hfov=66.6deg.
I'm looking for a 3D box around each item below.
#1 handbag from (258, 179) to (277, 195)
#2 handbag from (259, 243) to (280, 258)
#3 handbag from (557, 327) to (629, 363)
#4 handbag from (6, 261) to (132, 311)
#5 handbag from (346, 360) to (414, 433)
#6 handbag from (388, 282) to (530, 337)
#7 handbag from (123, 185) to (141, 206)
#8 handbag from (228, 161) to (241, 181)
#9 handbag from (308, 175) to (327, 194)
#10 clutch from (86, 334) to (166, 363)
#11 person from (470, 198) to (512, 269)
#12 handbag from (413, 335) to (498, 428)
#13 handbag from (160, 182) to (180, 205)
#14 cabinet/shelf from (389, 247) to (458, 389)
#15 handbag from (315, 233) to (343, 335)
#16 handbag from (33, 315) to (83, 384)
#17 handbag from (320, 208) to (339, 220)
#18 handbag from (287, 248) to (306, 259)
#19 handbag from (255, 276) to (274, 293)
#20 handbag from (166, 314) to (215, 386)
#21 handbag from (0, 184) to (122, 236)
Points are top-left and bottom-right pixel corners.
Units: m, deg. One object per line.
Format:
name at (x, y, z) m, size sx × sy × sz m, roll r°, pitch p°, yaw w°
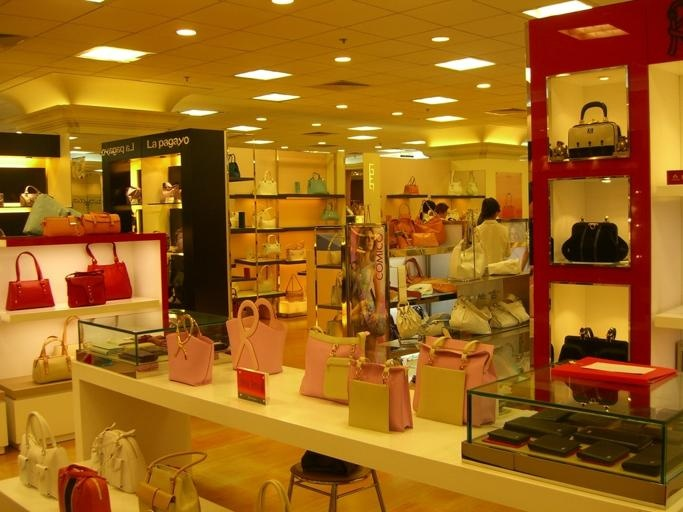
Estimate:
handbag at (-1.510, -1.373, 10.354) m, size 0.345 × 0.309 × 0.126 m, roll -3°, pitch 16°, yaw -17°
handbag at (-1.445, -0.105, 10.306) m, size 0.408 × 0.296 × 0.437 m, roll -4°, pitch 4°, yaw -9°
handbag at (1.757, 0.609, 3.604) m, size 0.330 × 0.302 × 0.169 m, roll 3°, pitch 9°, yaw 35°
handbag at (-2.562, 0.296, 4.987) m, size 0.282 × 0.381 × 1.085 m, roll 1°, pitch 5°, yaw 42°
handbag at (0.146, 0.576, 2.108) m, size 0.275 × 0.250 × 0.152 m, roll 3°, pitch 10°, yaw 30°
handbag at (1.341, 0.539, 5.605) m, size 0.636 × 0.260 × 1.224 m, roll -1°, pitch 0°, yaw 44°
handbag at (-3.293, -0.975, 8.317) m, size 0.320 × 0.339 × 0.348 m, roll 2°, pitch -5°, yaw -27°
handbag at (-1.832, -1.447, 8.773) m, size 0.166 × 0.363 × 0.510 m, roll -4°, pitch 4°, yaw -12°
handbag at (-0.562, -1.527, 11.187) m, size 0.470 × 0.380 × 0.166 m, roll -3°, pitch 9°, yaw -30°
clutch at (-1.303, 0.543, 3.118) m, size 0.656 × 0.215 × 0.147 m, roll 0°, pitch 5°, yaw 37°
person at (1.698, -0.290, 5.898) m, size 0.365 × 0.758 × 0.757 m, roll -2°, pitch 4°, yaw 18°
handbag at (0.441, 0.508, 2.059) m, size 0.376 × 0.339 × 0.208 m, roll 1°, pitch -1°, yaw 41°
handbag at (-2.500, -0.928, 7.610) m, size 0.268 × 0.265 × 0.369 m, roll -2°, pitch 4°, yaw -28°
cabinet/shelf at (0.660, 0.468, 4.380) m, size 0.354 × 0.901 × 1.025 m, roll 0°, pitch 0°, yaw 19°
handbag at (-0.182, 0.289, 6.488) m, size 0.278 × 1.286 × 0.690 m, roll -5°, pitch 5°, yaw -23°
handbag at (-2.716, 0.886, 4.886) m, size 0.401 × 0.570 × 0.761 m, roll -5°, pitch 5°, yaw -28°
handbag at (-0.259, -0.915, 11.512) m, size 0.488 × 0.395 × 0.209 m, roll 3°, pitch 6°, yaw 3°
handbag at (-0.941, -0.057, 10.743) m, size 0.277 × 0.117 × 0.238 m, roll 4°, pitch -5°, yaw -44°
handbag at (-1.458, 0.553, 9.850) m, size 0.305 × 0.286 × 0.187 m, roll -4°, pitch 9°, yaw -34°
handbag at (-0.840, 0.532, 2.858) m, size 0.367 × 0.392 × 0.183 m, roll -1°, pitch -3°, yaw 35°
handbag at (-3.880, -0.645, 7.114) m, size 1.116 × 0.599 × 0.459 m, roll 3°, pitch -3°, yaw -42°
